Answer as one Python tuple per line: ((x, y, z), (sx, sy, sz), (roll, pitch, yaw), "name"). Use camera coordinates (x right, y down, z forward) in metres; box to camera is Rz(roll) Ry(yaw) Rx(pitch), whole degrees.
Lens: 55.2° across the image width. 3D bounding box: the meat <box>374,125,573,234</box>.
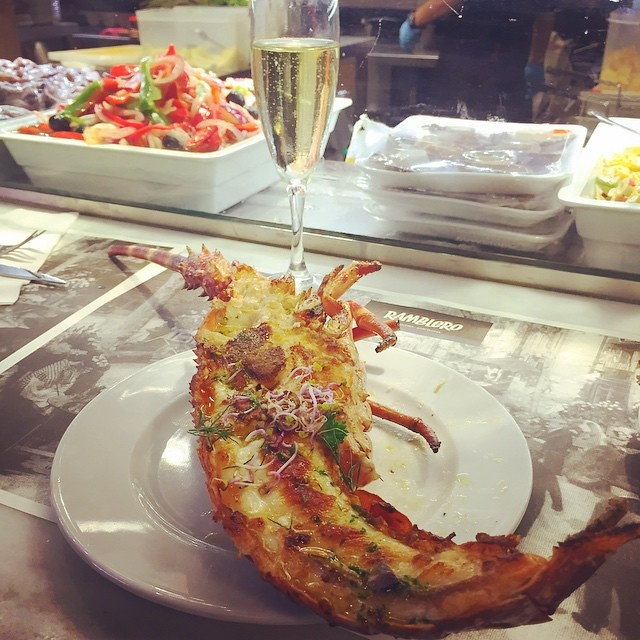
((0.221, -0.195, 0.934), (0.275, 0.062, 0.210), (8, 34, 18), "meat")
